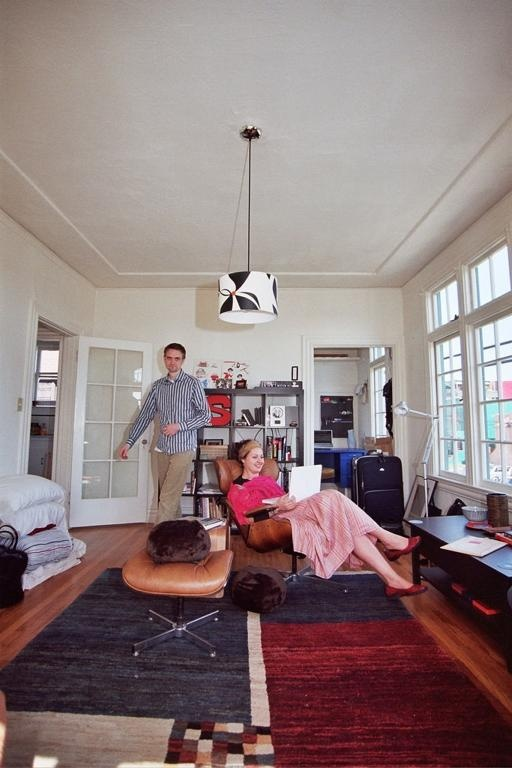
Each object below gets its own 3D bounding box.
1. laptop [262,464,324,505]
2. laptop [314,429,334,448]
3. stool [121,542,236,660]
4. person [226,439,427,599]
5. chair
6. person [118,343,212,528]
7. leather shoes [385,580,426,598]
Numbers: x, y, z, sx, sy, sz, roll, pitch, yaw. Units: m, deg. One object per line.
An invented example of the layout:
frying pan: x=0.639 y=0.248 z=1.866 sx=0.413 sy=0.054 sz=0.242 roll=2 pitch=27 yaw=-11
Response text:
laptop: x=0.207 y=0.551 z=3.054 sx=0.220 sy=0.222 sz=0.308 roll=2 pitch=-1 yaw=38
laptop: x=1.039 y=0.857 z=8.119 sx=0.396 sy=0.357 sz=0.142 roll=1 pitch=-23 yaw=-1
stool: x=-0.352 y=1.011 z=2.489 sx=0.549 sy=0.420 sz=0.540 roll=1 pitch=5 yaw=-15
person: x=0.359 y=0.723 z=3.037 sx=1.132 sy=0.775 sz=0.559 roll=-5 pitch=-2 yaw=38
chair: x=0.178 y=0.847 z=3.286 sx=0.685 sy=0.847 sz=0.679 roll=-10 pitch=-11 yaw=12
person: x=-0.615 y=0.321 z=3.718 sx=0.608 sy=1.208 sz=0.793 roll=1 pitch=-3 yaw=-17
leather shoes: x=0.749 y=1.066 z=2.751 sx=0.255 sy=0.097 sz=0.096 roll=-8 pitch=-20 yaw=7
